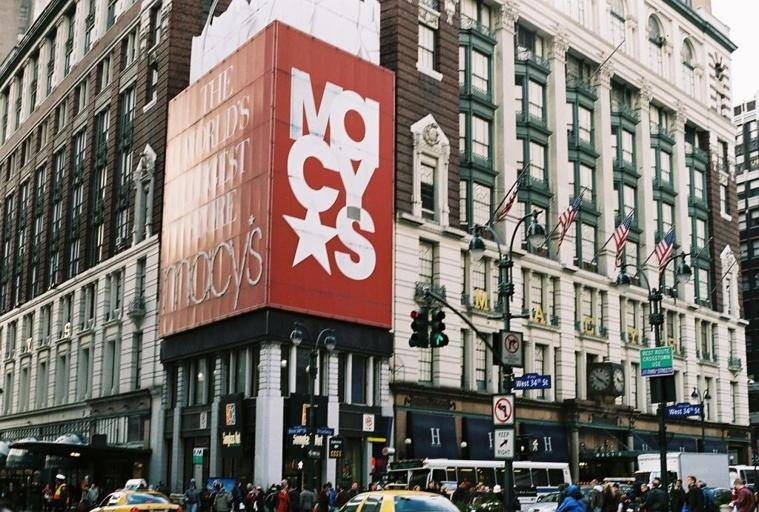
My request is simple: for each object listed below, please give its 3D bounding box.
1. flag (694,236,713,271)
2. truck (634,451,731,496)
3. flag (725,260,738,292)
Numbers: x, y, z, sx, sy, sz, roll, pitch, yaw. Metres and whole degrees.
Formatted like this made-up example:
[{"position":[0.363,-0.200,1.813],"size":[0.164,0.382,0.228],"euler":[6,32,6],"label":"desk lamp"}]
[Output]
[{"position":[32.673,-0.310,131.516],"size":[0.385,2.786,2.677],"euler":[8,-14,41],"label":"flag"},{"position":[23.472,16.396,99.348],"size":[5.191,2.882,3.841],"euler":[4,-17,-9],"label":"truck"},{"position":[36.082,1.847,133.654],"size":[1.193,2.334,2.815],"euler":[-7,-22,13],"label":"flag"}]
